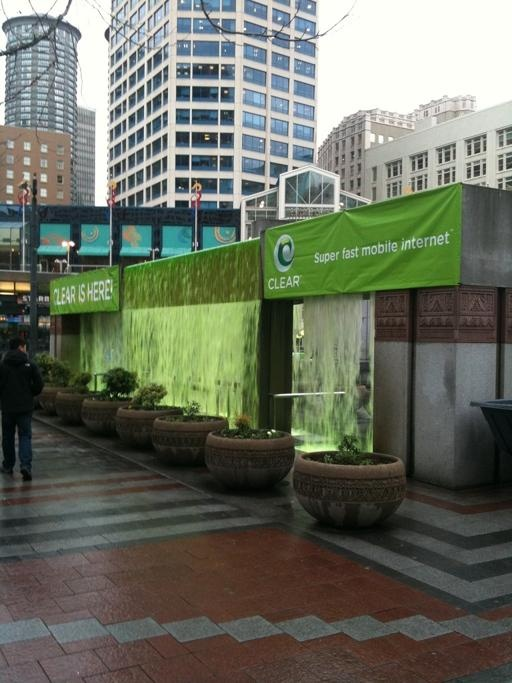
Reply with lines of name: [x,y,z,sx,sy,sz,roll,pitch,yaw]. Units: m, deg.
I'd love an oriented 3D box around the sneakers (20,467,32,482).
sneakers: [-3.077,1.779,8.456,0.084,0.256,0.105,-4,26,-6]

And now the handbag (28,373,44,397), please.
handbag: [-3.088,0.592,8.917,0.224,0.342,0.112,-6,-3,19]
